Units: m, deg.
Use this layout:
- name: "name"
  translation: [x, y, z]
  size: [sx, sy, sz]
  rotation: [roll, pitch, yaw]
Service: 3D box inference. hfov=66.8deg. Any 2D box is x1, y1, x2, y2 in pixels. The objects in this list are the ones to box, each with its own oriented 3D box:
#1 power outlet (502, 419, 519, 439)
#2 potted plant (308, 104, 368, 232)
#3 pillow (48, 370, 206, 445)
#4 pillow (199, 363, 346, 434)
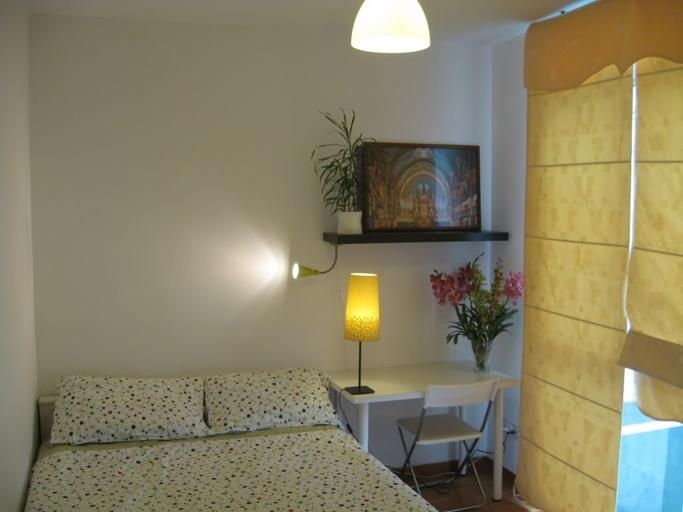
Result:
- name: "power outlet"
  translation: [1.224, 1.244, 3.747]
  size: [0.081, 0.107, 0.112]
  rotation: [2, 0, 20]
- name: "potted plant"
  translation: [-0.005, -0.617, 3.570]
  size: [0.400, 0.775, 0.237]
  rotation: [-3, 12, -6]
- name: "pillow"
  translation: [-1.246, 0.843, 3.001]
  size: [0.590, 0.157, 0.400]
  rotation: [2, 30, -14]
- name: "pillow"
  translation: [-0.452, 0.856, 3.202]
  size: [0.542, 0.130, 0.360]
  rotation: [-1, 24, -15]
